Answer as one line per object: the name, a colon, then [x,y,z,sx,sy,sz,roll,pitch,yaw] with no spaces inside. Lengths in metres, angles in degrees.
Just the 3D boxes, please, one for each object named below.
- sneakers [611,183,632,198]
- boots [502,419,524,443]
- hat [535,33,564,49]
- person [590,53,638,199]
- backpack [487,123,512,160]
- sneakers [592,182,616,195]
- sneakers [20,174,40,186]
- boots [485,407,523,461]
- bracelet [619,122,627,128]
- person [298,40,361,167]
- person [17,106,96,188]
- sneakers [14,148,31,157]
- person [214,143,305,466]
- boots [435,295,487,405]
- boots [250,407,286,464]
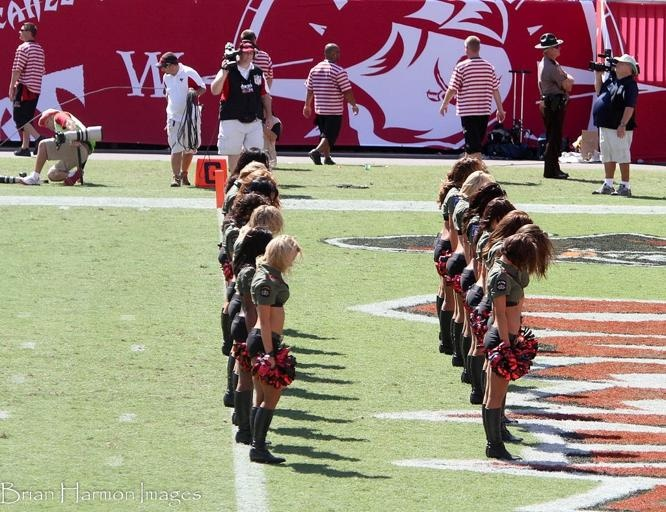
sneakers: [4.744,-1.068,26.707,0.370,0.230,0.137,0,13,2]
boots: [1.775,1.752,16.334,0.272,0.296,0.155,-2,5,0]
hat: [3.738,-3.686,28.115,0.566,0.213,0.599,0,18,10]
person: [4.610,-2.111,26.540,0.764,2.291,0.423,8,11,41]
backpack: [3.296,-2.279,31.957,0.683,0.664,0.465,-10,19,-38]
sneakers: [4.486,-1.116,26.825,0.414,0.242,0.147,3,15,12]
sneakers: [-4.746,-1.203,25.703,0.285,0.143,0.138,0,-15,-7]
boots: [1.653,1.721,15.869,0.365,0.501,0.213,2,4,24]
bracelet: [4.664,-2.119,26.251,0.084,0.061,0.094,6,12,21]
person: [-0.031,-2.667,29.137,0.898,2.202,1.464,0,8,-1]
person: [-4.215,-1.679,25.580,0.997,1.178,1.460,-6,11,-38]
sneakers: [-5.663,-1.900,29.825,0.305,0.134,0.142,5,12,15]
person: [-0.635,0.849,15.750,0.545,2.196,0.684,-2,9,-16]
boots: [1.364,0.993,17.060,0.390,1.209,0.311,-28,52,-9]
boots: [-0.620,1.702,15.636,0.342,0.547,0.184,0,8,-5]
